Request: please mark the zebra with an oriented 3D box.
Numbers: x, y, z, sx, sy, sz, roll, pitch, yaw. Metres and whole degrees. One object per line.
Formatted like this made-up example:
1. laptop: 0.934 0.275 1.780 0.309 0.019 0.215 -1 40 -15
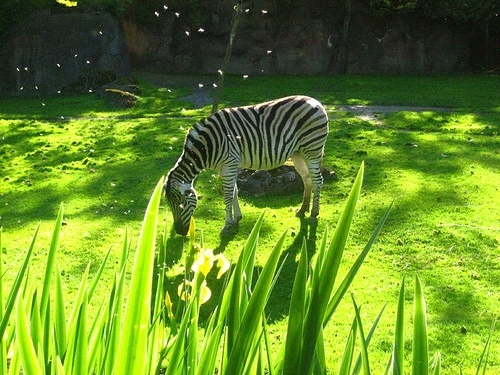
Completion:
1. zebra: -0.046 -0.308 9.113 2.670 2.188 0.783 -8 14 -13
